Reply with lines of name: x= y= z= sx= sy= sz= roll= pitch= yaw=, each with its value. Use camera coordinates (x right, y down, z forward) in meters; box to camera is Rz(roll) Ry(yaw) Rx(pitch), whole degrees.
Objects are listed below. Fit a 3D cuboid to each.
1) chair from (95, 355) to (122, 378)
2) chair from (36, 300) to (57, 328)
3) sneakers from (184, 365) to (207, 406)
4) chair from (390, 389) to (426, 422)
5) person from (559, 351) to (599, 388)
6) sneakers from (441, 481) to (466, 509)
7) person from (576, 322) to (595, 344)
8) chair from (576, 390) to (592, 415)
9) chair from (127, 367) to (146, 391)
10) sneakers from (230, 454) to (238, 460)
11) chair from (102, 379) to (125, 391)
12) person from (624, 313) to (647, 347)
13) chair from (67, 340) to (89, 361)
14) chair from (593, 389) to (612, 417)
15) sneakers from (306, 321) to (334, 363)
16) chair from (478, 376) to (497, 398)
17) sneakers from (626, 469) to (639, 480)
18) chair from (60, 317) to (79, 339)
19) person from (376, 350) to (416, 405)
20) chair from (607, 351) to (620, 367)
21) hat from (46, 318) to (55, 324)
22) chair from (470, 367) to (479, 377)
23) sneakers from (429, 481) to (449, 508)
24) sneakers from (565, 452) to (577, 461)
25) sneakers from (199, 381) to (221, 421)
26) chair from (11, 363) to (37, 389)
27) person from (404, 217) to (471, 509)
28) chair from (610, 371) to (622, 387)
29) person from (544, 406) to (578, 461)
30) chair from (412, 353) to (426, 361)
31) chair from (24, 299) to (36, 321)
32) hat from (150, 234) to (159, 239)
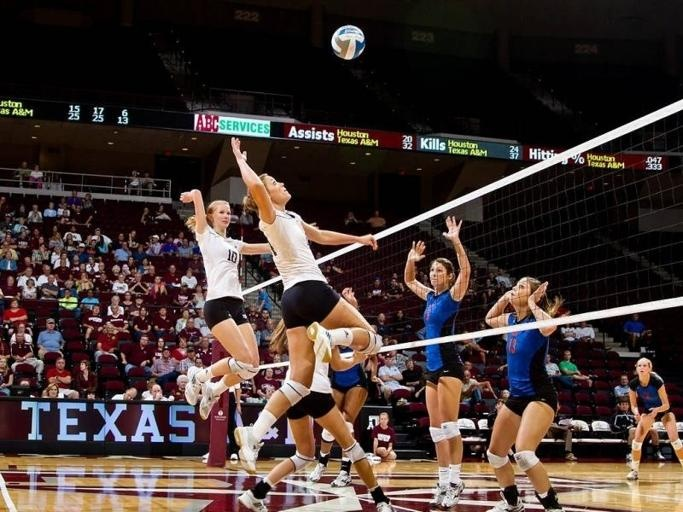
chair: x=-5.035 y=2.398 z=16.261 sx=0.518 sy=0.506 sz=0.453 roll=2 pitch=-9 yaw=-20
chair: x=-6.976 y=1.375 z=17.712 sx=0.608 sy=0.804 sz=0.618 roll=0 pitch=-6 yaw=-20
sneakers: x=-1.995 y=1.871 z=10.249 sx=0.228 sy=0.682 sz=0.282 roll=-3 pitch=14 yaw=-28
chair: x=1.505 y=3.404 z=17.212 sx=0.725 sy=0.841 sz=0.731 roll=1 pitch=-7 yaw=-5
person: x=5.954 y=2.935 z=19.419 sx=0.610 sy=0.978 sz=1.151 roll=13 pitch=-11 yaw=-33
sneakers: x=1.361 y=2.932 z=9.297 sx=0.140 sy=0.182 sz=0.423 roll=-13 pitch=30 yaw=40
person: x=7.071 y=2.218 z=21.916 sx=0.495 sy=0.609 sz=0.906 roll=-4 pitch=-9 yaw=16
chair: x=5.959 y=3.675 z=18.550 sx=0.414 sy=0.578 sz=0.476 roll=4 pitch=-20 yaw=-4
chair: x=-4.256 y=2.636 z=16.000 sx=0.438 sy=0.507 sz=0.414 roll=7 pitch=-23 yaw=-24
sneakers: x=-1.962 y=3.685 z=13.731 sx=0.121 sy=0.094 sz=0.125 roll=-2 pitch=-3 yaw=13
chair: x=-4.761 y=2.730 z=15.803 sx=0.271 sy=0.280 sz=0.276 roll=-2 pitch=1 yaw=-2
person: x=8.658 y=2.342 z=22.292 sx=0.555 sy=0.895 sz=0.475 roll=-4 pitch=-9 yaw=20
chair: x=-5.882 y=2.111 z=16.648 sx=0.398 sy=0.537 sz=0.479 roll=7 pitch=-21 yaw=-25
chair: x=6.568 y=3.736 z=18.828 sx=0.470 sy=0.658 sz=0.534 roll=3 pitch=-18 yaw=-9
sneakers: x=-0.244 y=0.961 z=8.156 sx=0.201 sy=0.448 sz=0.221 roll=-9 pitch=-25 yaw=-31
chair: x=3.492 y=3.170 z=18.137 sx=0.182 sy=0.687 sz=0.207 roll=-29 pitch=-9 yaw=6
sneakers: x=4.991 y=3.788 z=12.988 sx=0.141 sy=0.177 sz=0.419 roll=-11 pitch=-16 yaw=27
chair: x=-6.190 y=1.670 z=17.194 sx=0.398 sy=0.574 sz=0.480 roll=5 pitch=-21 yaw=-28
person: x=1.164 y=2.851 z=17.487 sx=0.818 sy=1.149 sz=0.652 roll=2 pitch=-13 yaw=-18
chair: x=7.599 y=2.911 z=21.070 sx=0.361 sy=0.465 sz=0.401 roll=1 pitch=-13 yaw=0
hat: x=-6.421 y=1.448 z=16.601 sx=0.145 sy=0.085 sz=0.223 roll=2 pitch=-9 yaw=-21
chair: x=3.274 y=2.888 z=18.661 sx=0.230 sy=0.276 sz=0.226 roll=5 pitch=-26 yaw=-11
sneakers: x=1.206 y=2.994 z=9.381 sx=0.107 sy=0.147 sz=0.325 roll=-20 pitch=12 yaw=26
sneakers: x=5.108 y=4.503 z=16.797 sx=0.139 sy=0.141 sz=0.330 roll=2 pitch=-16 yaw=-7
sneakers: x=-1.744 y=1.898 z=9.952 sx=0.246 sy=0.607 sz=0.205 roll=4 pitch=-1 yaw=21
chair: x=-6.433 y=2.467 z=15.309 sx=0.451 sy=0.570 sz=0.508 roll=3 pitch=-14 yaw=-24
person: x=1.312 y=1.271 z=9.927 sx=0.832 sy=3.805 sz=1.102 roll=-2 pitch=-9 yaw=6
chair: x=7.367 y=3.298 z=20.188 sx=0.353 sy=0.418 sz=0.354 roll=5 pitch=-15 yaw=-17
person: x=5.058 y=3.955 z=17.351 sx=0.645 sy=1.208 sz=0.425 roll=12 pitch=-19 yaw=8
chair: x=1.996 y=2.620 z=19.239 sx=0.204 sy=0.265 sz=0.216 roll=4 pitch=-21 yaw=-14
chair: x=-7.251 y=1.271 z=17.470 sx=0.423 sy=0.552 sz=0.395 roll=2 pitch=-8 yaw=-23
hat: x=-5.875 y=-0.598 z=23.598 sx=0.245 sy=0.080 sz=0.237 roll=1 pitch=-1 yaw=-44
